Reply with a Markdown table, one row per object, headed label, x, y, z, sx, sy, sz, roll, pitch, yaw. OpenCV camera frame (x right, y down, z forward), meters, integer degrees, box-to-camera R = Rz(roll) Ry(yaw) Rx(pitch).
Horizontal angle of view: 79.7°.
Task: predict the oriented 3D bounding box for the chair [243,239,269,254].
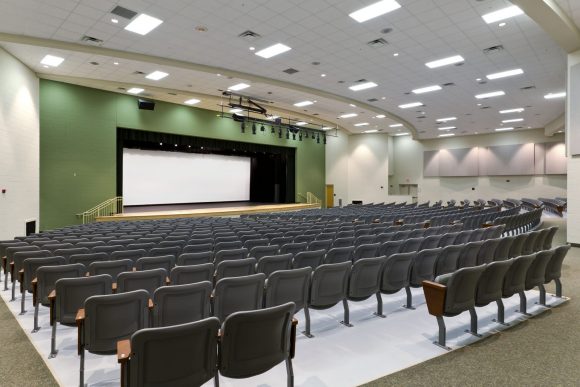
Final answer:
| label | x | y | z | sx | sy | sz | roll | pitch | yaw |
| --- | --- | --- | --- | --- | --- | --- | --- | --- | --- |
| chair | -0.799 | 1.192 | 8.077 | 0.323 | 0.383 | 0.299 | -1 | 4 | -27 |

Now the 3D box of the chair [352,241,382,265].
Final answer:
| label | x | y | z | sx | sy | sz | roll | pitch | yaw |
| --- | --- | --- | --- | --- | --- | --- | --- | --- | --- |
| chair | 1.595 | 1.173 | 7.272 | 0.466 | 0.565 | 0.444 | -2 | 9 | -23 |

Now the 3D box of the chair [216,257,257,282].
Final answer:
| label | x | y | z | sx | sy | sz | roll | pitch | yaw |
| --- | --- | --- | --- | --- | --- | --- | --- | --- | --- |
| chair | -1.016 | 1.300 | 6.545 | 0.563 | 0.666 | 0.525 | 0 | 2 | -24 |

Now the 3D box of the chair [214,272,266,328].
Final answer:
| label | x | y | z | sx | sy | sz | roll | pitch | yaw |
| --- | --- | --- | --- | --- | --- | --- | --- | --- | --- |
| chair | -0.836 | 1.653 | 5.693 | 0.712 | 0.850 | 0.832 | 2 | 0 | -28 |

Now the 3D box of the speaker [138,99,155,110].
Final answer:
| label | x | y | z | sx | sy | sz | roll | pitch | yaw |
| --- | --- | --- | --- | --- | --- | --- | --- | --- | --- |
| speaker | -7.272 | -4.552 | 17.554 | 0.995 | 0.465 | 0.641 | 0 | 4 | -28 |

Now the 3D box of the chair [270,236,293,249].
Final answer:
| label | x | y | z | sx | sy | sz | roll | pitch | yaw |
| --- | --- | --- | --- | --- | --- | --- | --- | --- | --- |
| chair | -0.187 | 1.120 | 8.142 | 0.282 | 0.358 | 0.283 | -1 | 4 | -26 |

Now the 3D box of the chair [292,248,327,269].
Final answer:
| label | x | y | z | sx | sy | sz | roll | pitch | yaw |
| --- | --- | --- | --- | --- | --- | --- | --- | --- | --- |
| chair | 0.381 | 1.277 | 6.855 | 0.457 | 0.516 | 0.506 | -1 | 4 | -26 |

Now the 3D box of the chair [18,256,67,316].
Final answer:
| label | x | y | z | sx | sy | sz | roll | pitch | yaw |
| --- | --- | --- | --- | --- | --- | --- | --- | --- | --- |
| chair | -4.836 | 1.752 | 6.890 | 0.850 | 1.028 | 0.765 | 0 | -7 | -26 |

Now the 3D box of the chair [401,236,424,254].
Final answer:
| label | x | y | z | sx | sy | sz | roll | pitch | yaw |
| --- | --- | --- | --- | --- | --- | --- | --- | --- | --- |
| chair | 2.615 | 1.057 | 7.643 | 0.391 | 0.477 | 0.375 | -3 | 9 | -22 |

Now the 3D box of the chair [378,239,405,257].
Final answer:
| label | x | y | z | sx | sy | sz | roll | pitch | yaw |
| --- | --- | --- | --- | --- | --- | --- | --- | --- | --- |
| chair | 2.090 | 1.113 | 7.464 | 0.385 | 0.467 | 0.448 | 0 | 4 | -20 |

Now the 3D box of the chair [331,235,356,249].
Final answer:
| label | x | y | z | sx | sy | sz | roll | pitch | yaw |
| --- | --- | --- | --- | --- | --- | --- | --- | --- | --- |
| chair | 1.210 | 1.084 | 7.895 | 0.322 | 0.396 | 0.306 | -2 | 7 | -26 |

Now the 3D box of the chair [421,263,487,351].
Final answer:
| label | x | y | z | sx | sy | sz | roll | pitch | yaw |
| --- | --- | --- | --- | --- | --- | --- | --- | --- | --- |
| chair | 2.723 | 1.749 | 5.647 | 0.940 | 1.188 | 0.595 | -3 | 15 | -12 |

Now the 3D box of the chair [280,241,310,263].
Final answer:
| label | x | y | z | sx | sy | sz | roll | pitch | yaw |
| --- | --- | --- | --- | --- | --- | --- | --- | --- | --- |
| chair | 0.090 | 1.212 | 7.439 | 0.405 | 0.425 | 0.343 | -1 | 7 | -24 |

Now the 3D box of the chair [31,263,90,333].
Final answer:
| label | x | y | z | sx | sy | sz | roll | pitch | yaw |
| --- | --- | --- | --- | --- | --- | --- | --- | --- | --- |
| chair | -4.211 | 1.782 | 6.423 | 0.950 | 1.111 | 0.874 | 1 | 5 | -25 |

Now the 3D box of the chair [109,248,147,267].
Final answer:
| label | x | y | z | sx | sy | sz | roll | pitch | yaw |
| --- | --- | --- | --- | --- | --- | --- | --- | --- | --- |
| chair | -3.366 | 1.194 | 7.206 | 0.451 | 0.533 | 0.442 | -2 | 15 | -39 |

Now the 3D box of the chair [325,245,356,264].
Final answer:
| label | x | y | z | sx | sy | sz | roll | pitch | yaw |
| --- | --- | --- | --- | --- | --- | --- | --- | --- | --- |
| chair | 1.021 | 1.218 | 7.020 | 0.437 | 0.535 | 0.420 | -2 | 5 | -25 |

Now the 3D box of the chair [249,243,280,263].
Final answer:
| label | x | y | z | sx | sy | sz | roll | pitch | yaw |
| --- | --- | --- | --- | --- | --- | --- | --- | --- | --- |
| chair | -0.546 | 1.194 | 7.318 | 0.423 | 0.531 | 0.418 | -2 | 6 | -30 |

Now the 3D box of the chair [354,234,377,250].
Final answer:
| label | x | y | z | sx | sy | sz | roll | pitch | yaw |
| --- | --- | --- | --- | --- | --- | --- | --- | --- | --- |
| chair | 1.732 | 1.062 | 7.939 | 0.326 | 0.405 | 0.318 | -3 | 8 | -32 |
